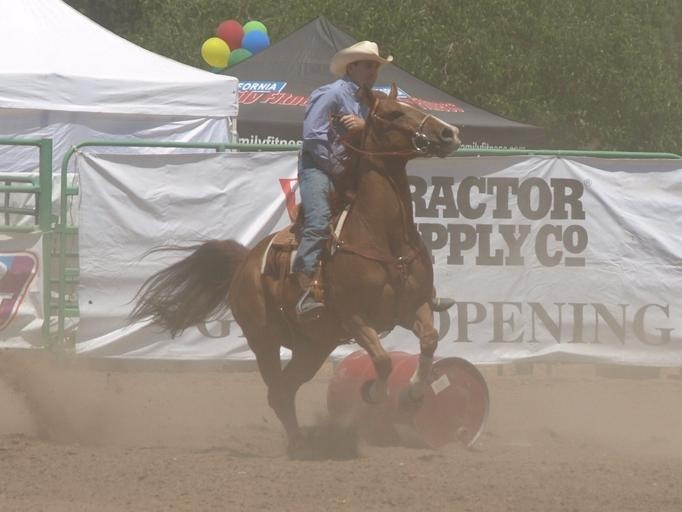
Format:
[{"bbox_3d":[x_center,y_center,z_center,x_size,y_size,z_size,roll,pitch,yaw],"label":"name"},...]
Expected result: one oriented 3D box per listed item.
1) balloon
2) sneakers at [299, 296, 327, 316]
[{"bbox_3d":[-1.807,-3.466,16.309,1.181,0.527,1.136,-29,33,-9],"label":"balloon"},{"bbox_3d":[-0.269,0.456,8.665,0.193,0.156,0.141,-2,-1,9],"label":"sneakers"}]
